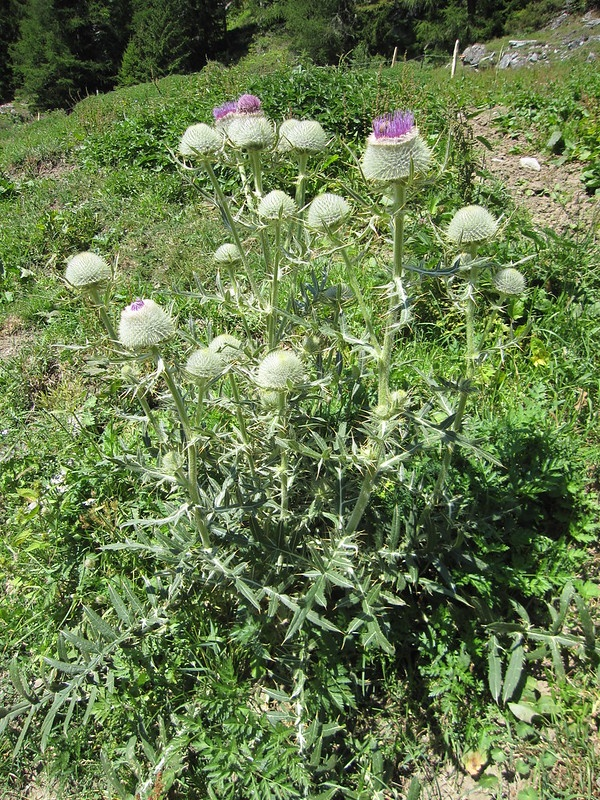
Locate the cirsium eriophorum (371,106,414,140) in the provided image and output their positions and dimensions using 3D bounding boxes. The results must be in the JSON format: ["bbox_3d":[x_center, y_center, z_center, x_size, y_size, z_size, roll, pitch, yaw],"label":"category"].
[{"bbox_3d":[0.357,-1.053,2.615,0.155,0.080,0.148,-18,26,19],"label":"cirsium eriophorum"}]

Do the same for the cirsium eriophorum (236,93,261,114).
[{"bbox_3d":[-0.260,-1.463,3.374,0.117,0.079,0.247,-11,37,-1],"label":"cirsium eriophorum"}]
